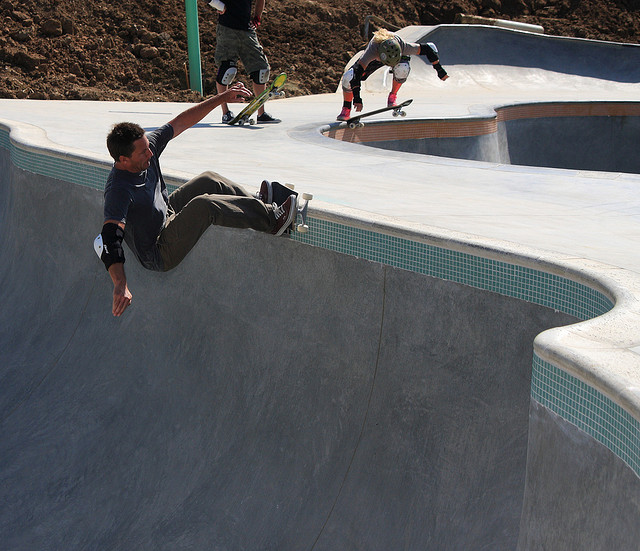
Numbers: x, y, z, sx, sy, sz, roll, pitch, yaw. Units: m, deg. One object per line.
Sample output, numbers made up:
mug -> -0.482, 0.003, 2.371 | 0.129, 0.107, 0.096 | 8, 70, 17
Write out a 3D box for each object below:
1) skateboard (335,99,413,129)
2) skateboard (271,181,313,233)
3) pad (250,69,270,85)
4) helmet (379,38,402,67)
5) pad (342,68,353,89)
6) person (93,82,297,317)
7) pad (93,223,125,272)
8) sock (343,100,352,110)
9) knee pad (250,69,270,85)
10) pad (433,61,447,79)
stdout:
skateboard -> 0.743, -2.129, 7.497 | 0.419, 0.294, 1.228 | 27, 34, 35
skateboard -> -0.173, -0.409, 3.140 | 0.128, 0.175, 0.429 | -9, 35, -22
pad -> -0.738, -2.483, 7.216 | 0.209, 0.158, 0.175 | -28, 40, -33
helmet -> 0.846, -2.721, 7.080 | 0.221, 0.308, 0.278 | 2, -2, -7
pad -> 0.330, -2.321, 6.759 | 0.169, 0.178, 0.137 | -7, 23, 19
person -> -0.673, -0.465, 3.286 | 1.081, 0.849, 1.448 | -18, 47, -11
pad -> -1.055, -0.159, 2.920 | 0.114, 0.200, 0.143 | -3, 28, -15
sock -> 0.348, -2.170, 7.252 | 0.088, 0.108, 0.106 | 4, 27, -2
knee pad -> -0.738, -2.490, 7.208 | 0.204, 0.155, 0.169 | -26, 40, -32
pad -> 1.548, -2.666, 7.452 | 0.071, 0.231, 0.229 | -14, 43, -7
